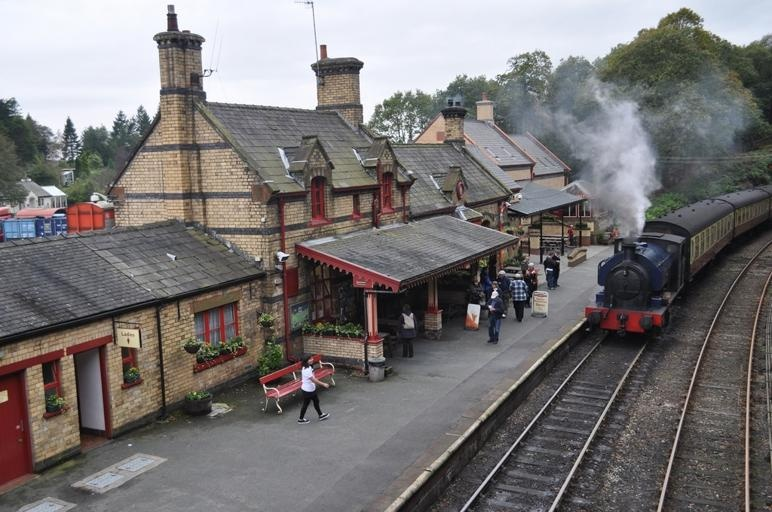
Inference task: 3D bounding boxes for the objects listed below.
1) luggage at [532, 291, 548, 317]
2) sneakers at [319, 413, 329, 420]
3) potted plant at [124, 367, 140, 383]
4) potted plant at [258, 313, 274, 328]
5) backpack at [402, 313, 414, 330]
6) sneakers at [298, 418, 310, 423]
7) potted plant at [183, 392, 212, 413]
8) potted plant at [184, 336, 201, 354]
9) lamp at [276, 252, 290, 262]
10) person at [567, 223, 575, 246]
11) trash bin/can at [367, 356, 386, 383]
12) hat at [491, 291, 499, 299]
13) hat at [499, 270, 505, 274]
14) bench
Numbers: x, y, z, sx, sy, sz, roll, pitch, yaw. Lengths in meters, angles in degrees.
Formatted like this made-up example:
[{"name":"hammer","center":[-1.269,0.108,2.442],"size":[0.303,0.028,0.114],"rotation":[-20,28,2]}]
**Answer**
[{"name":"luggage","center":[6.467,2.002,30.184],"size":[0.922,1.272,0.913],"rotation":[1,0,13]},{"name":"sneakers","center":[-1.823,4.758,21.252],"size":[0.270,0.111,0.105],"rotation":[-12,15,-40]},{"name":"potted plant","center":[-7.237,3.415,20.569],"size":[0.403,0.360,0.386],"rotation":[0,0,-34]},{"name":"potted plant","center":[-3.957,2.174,23.796],"size":[0.520,0.497,0.521],"rotation":[-5,10,-8]},{"name":"backpack","center":[0.802,2.310,25.324],"size":[0.414,0.516,0.340],"rotation":[-4,11,-1]},{"name":"sneakers","center":[-2.395,4.816,21.063],"size":[0.319,0.130,0.125],"rotation":[0,11,-8]},{"name":"potted plant","center":[-5.665,4.417,21.665],"size":[0.641,0.514,0.654],"rotation":[1,2,37]},{"name":"potted plant","center":[-5.836,2.711,21.727],"size":[0.486,0.367,0.482],"rotation":[0,-6,-9]},{"name":"lamp","center":[-3.411,0.009,24.022],"size":[0.385,0.286,0.378],"rotation":[6,18,44]},{"name":"person","center":[11.629,-1.296,45.205],"size":[0.423,1.164,1.627],"rotation":[-1,10,14]},{"name":"trash bin/can","center":[-0.303,3.734,23.563],"size":[0.732,0.702,0.683],"rotation":[-1,-5,-3]},{"name":"hat","center":[4.066,1.464,27.027],"size":[0.292,0.283,0.292],"rotation":[1,11,22]},{"name":"hat","center":[4.838,0.710,30.183],"size":[0.241,0.078,0.233],"rotation":[-3,4,-36]},{"name":"bench","center":[-2.744,3.967,22.691],"size":[0.772,0.934,2.750],"rotation":[15,18,32]}]
